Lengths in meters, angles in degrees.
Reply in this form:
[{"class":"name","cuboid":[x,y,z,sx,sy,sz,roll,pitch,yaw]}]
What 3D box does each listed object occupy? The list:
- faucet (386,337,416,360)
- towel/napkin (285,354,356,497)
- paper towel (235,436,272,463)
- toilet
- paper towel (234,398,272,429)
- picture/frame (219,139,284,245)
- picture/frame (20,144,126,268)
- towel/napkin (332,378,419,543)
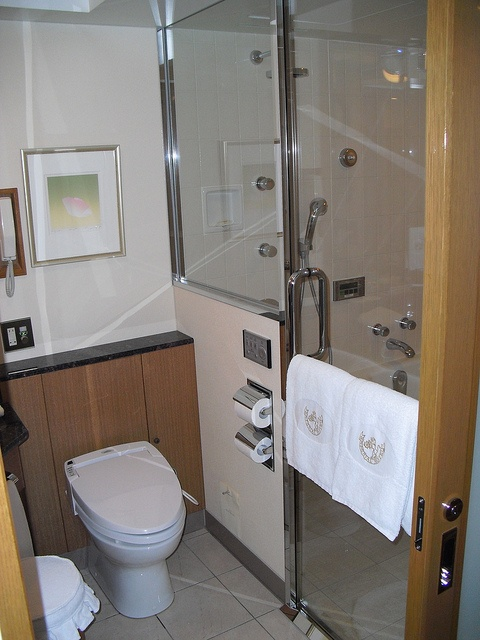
[{"class":"faucet","cuboid":[0.480,0.081,1.470,0.031,0.056,0.095,-4,25,-41]},{"class":"towel/napkin","cuboid":[0.231,0.326,1.518,0.078,0.374,0.296,-7,21,-27]},{"class":"paper towel","cuboid":[0.051,0.454,1.890,0.094,0.131,0.128,-10,12,-39]},{"class":"toilet","cuboid":[-0.451,0.877,2.015,0.366,0.634,0.452,-14,29,-31]},{"class":"paper towel","cuboid":[0.047,0.315,1.847,0.103,0.126,0.124,-5,8,-39]},{"class":"picture/frame","cuboid":[0.036,-0.474,1.744,0.027,0.352,0.397,-8,12,-30]},{"class":"picture/frame","cuboid":[-0.729,-0.499,2.078,0.403,0.553,0.020,-14,24,-31]},{"class":"towel/napkin","cuboid":[0.358,0.367,1.303,0.055,0.386,0.326,-7,11,-25]}]
